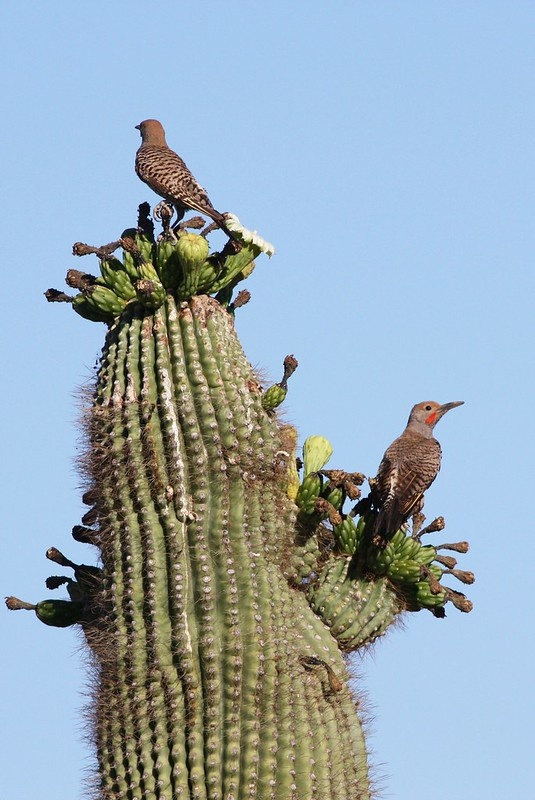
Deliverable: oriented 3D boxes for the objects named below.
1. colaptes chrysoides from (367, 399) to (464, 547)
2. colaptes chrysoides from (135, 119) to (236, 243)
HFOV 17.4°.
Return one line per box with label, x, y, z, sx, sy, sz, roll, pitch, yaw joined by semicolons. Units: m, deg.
colaptes chrysoides;0.725;0.502;9.516;0.667;0.290;0.797;-10;52;-2
colaptes chrysoides;-0.517;-1.336;10.629;0.770;0.626;0.264;17;20;25
